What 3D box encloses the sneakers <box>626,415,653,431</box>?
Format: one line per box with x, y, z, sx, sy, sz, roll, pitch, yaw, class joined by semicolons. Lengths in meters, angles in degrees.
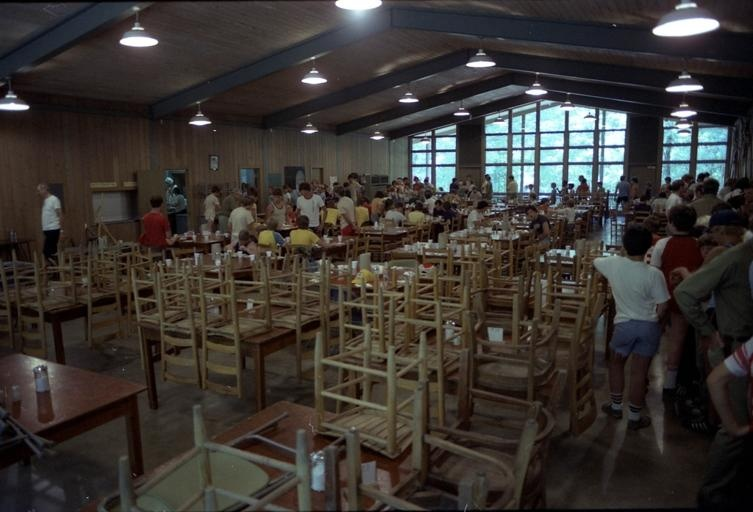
2.654;1.663;5.449;0.233;0.081;0.113;-15;15;-23;sneakers

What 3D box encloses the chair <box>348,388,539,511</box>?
0.461;1.326;3.705;0.823;1.074;0.664;9;21;18;chair

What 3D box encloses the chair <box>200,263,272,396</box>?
-1.443;0.823;5.770;0.869;1.069;0.840;-7;-10;-40;chair

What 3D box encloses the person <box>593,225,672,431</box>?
2.535;0.707;5.389;0.630;2.038;0.293;2;8;22;person

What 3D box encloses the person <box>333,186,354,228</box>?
-0.626;-1.028;11.438;0.378;0.865;0.750;-1;6;-3;person

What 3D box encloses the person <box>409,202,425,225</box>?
0.933;-0.969;12.117;0.367;0.485;1.043;0;6;5;person

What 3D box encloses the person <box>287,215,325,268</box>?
-1.097;-0.155;9.008;0.514;1.090;0.394;10;31;23;person

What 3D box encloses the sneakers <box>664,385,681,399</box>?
3.246;1.500;5.966;0.157;0.136;0.149;-3;7;-5;sneakers

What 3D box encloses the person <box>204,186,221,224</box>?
-3.722;-1.150;12.372;0.323;0.922;1.387;-3;6;-17;person

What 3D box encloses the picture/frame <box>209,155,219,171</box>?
-4.364;-2.529;14.591;0.063;0.397;0.391;0;22;28;picture/frame

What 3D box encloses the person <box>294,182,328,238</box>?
-1.320;-0.744;10.950;0.633;1.576;0.479;2;-10;-19;person

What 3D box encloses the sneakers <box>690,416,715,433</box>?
3.237;1.658;5.356;0.137;0.061;0.180;3;-1;-7;sneakers

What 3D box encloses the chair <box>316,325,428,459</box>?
0.014;0.984;4.133;0.970;0.656;0.938;2;2;2;chair

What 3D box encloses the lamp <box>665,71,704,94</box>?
4.780;-2.712;8.393;0.421;0.347;0.722;3;6;27;lamp

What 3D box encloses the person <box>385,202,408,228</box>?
0.430;-0.983;12.611;0.455;0.560;0.887;0;6;1;person
